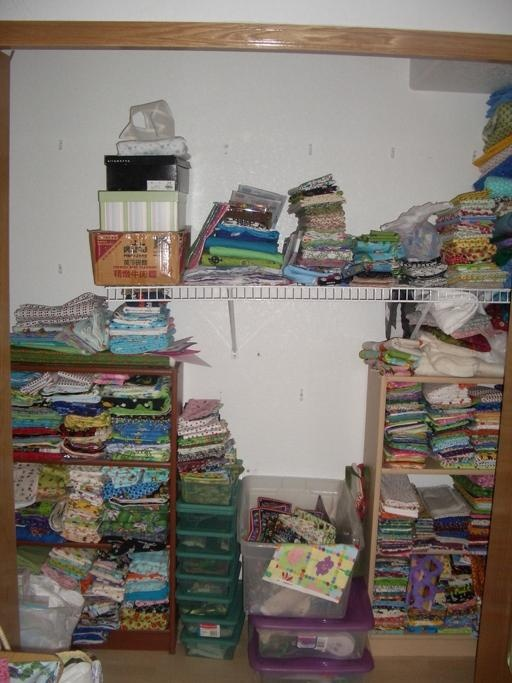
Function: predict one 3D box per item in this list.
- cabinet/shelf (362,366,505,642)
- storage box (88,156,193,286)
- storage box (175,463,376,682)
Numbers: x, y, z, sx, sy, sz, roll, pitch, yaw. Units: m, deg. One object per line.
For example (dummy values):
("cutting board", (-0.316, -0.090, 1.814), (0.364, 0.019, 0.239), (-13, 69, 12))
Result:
("cabinet/shelf", (0.694, 0.632, 2.457), (0.545, 1.052, 0.340), (0, 6, 9))
("storage box", (-0.309, -0.432, 2.208), (0.458, 0.529, 0.432), (0, 13, -2))
("storage box", (0.176, 0.879, 2.392), (0.488, 0.564, 0.625), (-1, 6, -1))
